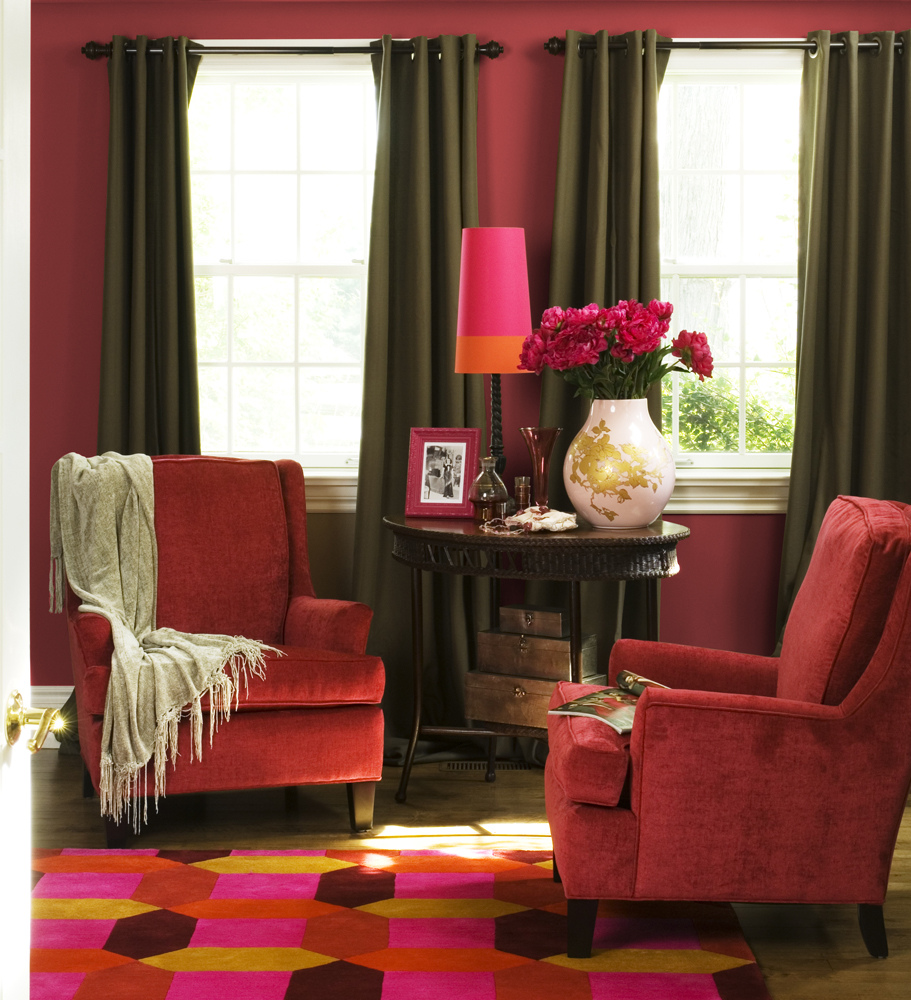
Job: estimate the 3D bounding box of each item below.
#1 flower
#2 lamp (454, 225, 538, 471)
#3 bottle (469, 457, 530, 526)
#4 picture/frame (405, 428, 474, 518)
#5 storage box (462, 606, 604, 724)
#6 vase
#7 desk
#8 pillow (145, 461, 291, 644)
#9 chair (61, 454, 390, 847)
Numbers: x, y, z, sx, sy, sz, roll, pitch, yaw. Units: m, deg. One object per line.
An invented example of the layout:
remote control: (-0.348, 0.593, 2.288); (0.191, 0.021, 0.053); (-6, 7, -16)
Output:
flower: (0.433, -0.402, 3.030); (0.471, 0.261, 0.314); (-1, 3, -26)
lamp: (0.111, -0.598, 3.344); (0.211, 0.434, 0.159); (1, 4, 14)
bottle: (0.101, -0.029, 3.186); (0.175, 0.244, 0.169); (0, 0, 0)
picture/frame: (-0.040, -0.077, 3.495); (0.301, 0.402, 0.041); (2, -31, 1)
storage box: (0.209, 0.455, 3.497); (0.413, 0.416, 0.349); (0, -2, 39)
vase: (0.420, -0.087, 3.111); (0.366, 0.414, 0.324); (1, -1, 3)
desk: (0.204, 0.439, 3.121); (0.831, 0.720, 0.514); (0, 2, 22)
pillow: (-0.623, 0.151, 3.504); (0.470, 0.626, 0.511); (2, -4, -15)
chair: (-0.681, 0.366, 3.310); (0.977, 1.233, 1.036); (1, -5, -22)
